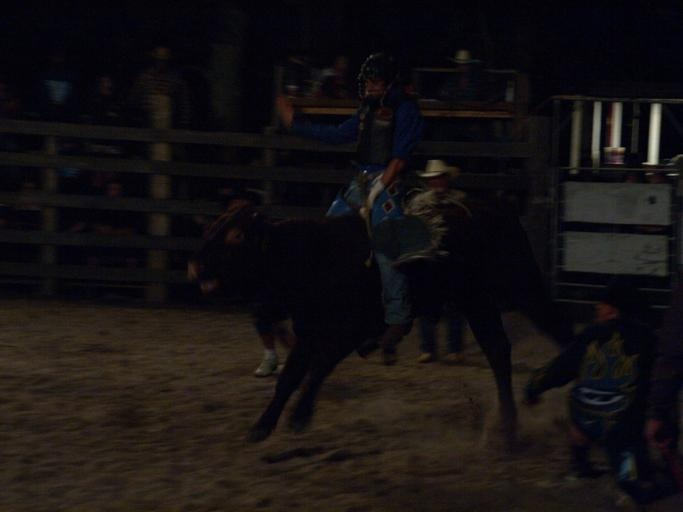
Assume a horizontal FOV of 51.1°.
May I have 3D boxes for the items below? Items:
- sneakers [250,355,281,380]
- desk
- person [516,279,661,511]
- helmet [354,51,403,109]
[{"bbox_3d":[-0.616,0.904,5.802,0.121,0.083,0.237,-4,-3,40],"label":"sneakers"},{"bbox_3d":[0.696,-1.329,7.271,2.249,0.604,1.130,1,10,5],"label":"desk"},{"bbox_3d":[1.608,0.817,4.430,0.745,1.308,0.294,4,6,20],"label":"person"},{"bbox_3d":[0.234,-1.337,5.401,0.326,0.364,0.416,7,22,40],"label":"helmet"}]
